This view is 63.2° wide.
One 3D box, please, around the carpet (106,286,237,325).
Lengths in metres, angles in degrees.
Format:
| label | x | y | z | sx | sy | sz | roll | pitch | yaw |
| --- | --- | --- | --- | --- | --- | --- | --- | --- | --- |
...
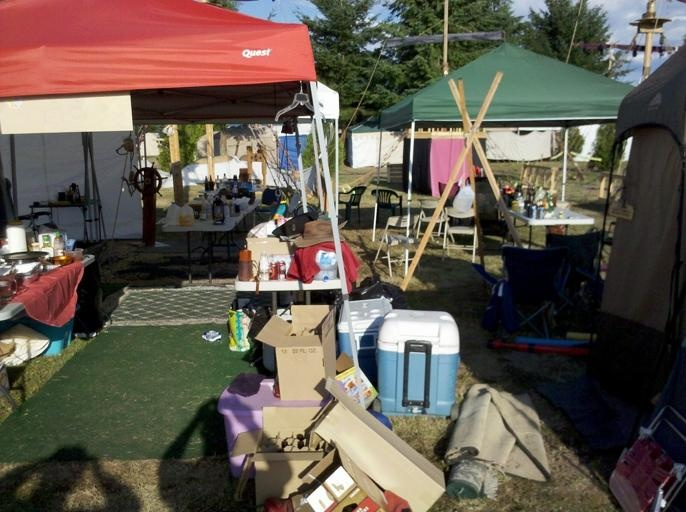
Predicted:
| label | x | y | z | sx | sy | sz | roll | pitch | yaw |
| --- | --- | --- | --- | --- | --- | --- | --- | --- | --- |
| carpet | -2.205 | 0.618 | 7.285 | 1.513 | 0.118 | 1.475 | -4 | 13 | -5 |

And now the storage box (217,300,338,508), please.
| label | x | y | z | sx | sy | sz | roll | pitch | yaw |
| --- | --- | --- | --- | --- | --- | --- | --- | --- | --- |
| storage box | -0.491 | 1.107 | 4.304 | 0.907 | 1.115 | 1.279 | -2 | 13 | 0 |

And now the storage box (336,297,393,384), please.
| label | x | y | z | sx | sy | sz | roll | pitch | yaw |
| --- | --- | --- | --- | --- | --- | --- | --- | --- | --- |
| storage box | 0.197 | 0.804 | 5.344 | 0.681 | 0.987 | 0.673 | 1 | 18 | 4 |

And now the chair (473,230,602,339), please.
| label | x | y | z | sx | sy | sz | roll | pitch | yaw |
| --- | --- | --- | --- | --- | --- | --- | --- | --- | --- |
| chair | 2.354 | 0.303 | 6.438 | 1.573 | 1.079 | 0.851 | -12 | 16 | -36 |

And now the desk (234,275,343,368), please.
| label | x | y | z | sx | sy | sz | roll | pitch | yaw |
| --- | --- | --- | --- | --- | --- | --- | --- | --- | --- |
| desk | -0.645 | 0.453 | 5.262 | 0.629 | 0.512 | 0.643 | -22 | -5 | 14 |

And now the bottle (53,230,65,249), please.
| label | x | y | z | sx | sy | sz | roll | pitch | yaw |
| --- | --- | --- | --- | --- | --- | --- | --- | --- | --- |
| bottle | -3.010 | -0.180 | 5.932 | 0.104 | 0.183 | 0.365 | -8 | 15 | -25 |

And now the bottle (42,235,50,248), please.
| label | x | y | z | sx | sy | sz | roll | pitch | yaw |
| --- | --- | --- | --- | --- | --- | --- | --- | --- | --- |
| bottle | -3.094 | -0.171 | 5.844 | 0.091 | 0.120 | 0.076 | -13 | 17 | -38 |
